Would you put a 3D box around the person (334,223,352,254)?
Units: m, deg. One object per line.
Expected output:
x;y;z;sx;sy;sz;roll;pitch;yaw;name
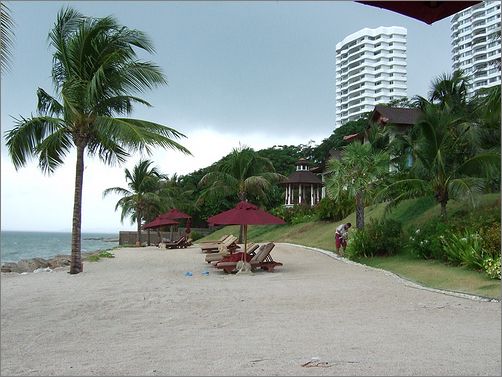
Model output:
4.456;2.453;20.910;0.690;1.558;3.833;-3;-6;10;person

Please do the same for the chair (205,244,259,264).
-0.878;2.756;17.682;1.693;0.740;1.063;-1;-1;1;chair

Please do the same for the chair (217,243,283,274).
-0.116;2.718;16.255;1.830;0.870;1.263;1;-5;-6;chair

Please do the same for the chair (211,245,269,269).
-0.566;2.671;16.142;1.480;0.574;1.001;-4;-4;-18;chair
